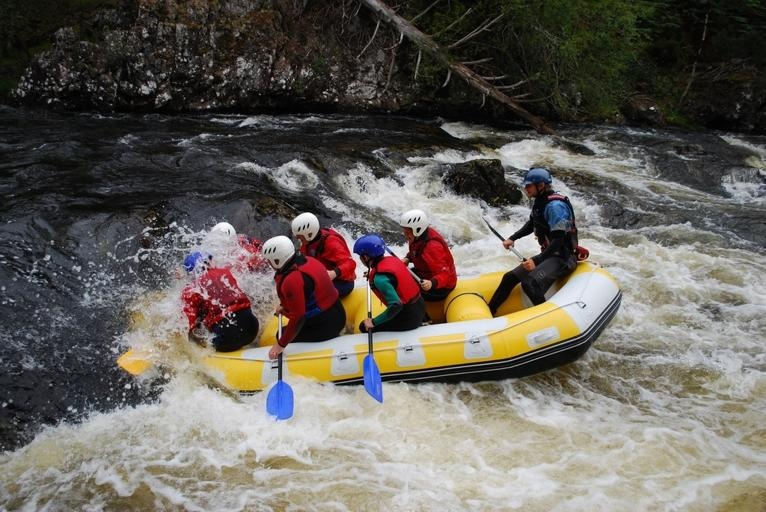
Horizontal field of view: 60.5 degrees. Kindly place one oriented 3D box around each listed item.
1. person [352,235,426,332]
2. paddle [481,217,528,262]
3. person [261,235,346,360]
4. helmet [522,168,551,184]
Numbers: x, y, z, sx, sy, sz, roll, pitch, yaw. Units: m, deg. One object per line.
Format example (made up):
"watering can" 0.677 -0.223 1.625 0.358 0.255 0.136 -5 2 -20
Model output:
"person" 0.106 0.505 11.238 0.975 1.498 0.865 15 45 27
"paddle" 2.598 -0.344 14.257 0.257 1.270 0.214 -24 25 43
"person" -1.282 0.582 10.820 1.224 1.807 0.701 -7 26 -15
"helmet" 2.772 -1.450 11.863 0.428 0.221 0.304 2 9 7
